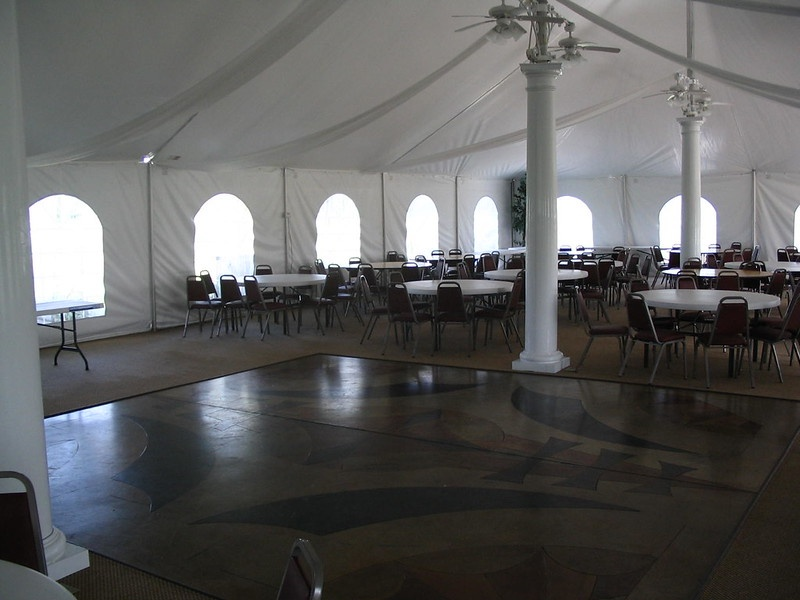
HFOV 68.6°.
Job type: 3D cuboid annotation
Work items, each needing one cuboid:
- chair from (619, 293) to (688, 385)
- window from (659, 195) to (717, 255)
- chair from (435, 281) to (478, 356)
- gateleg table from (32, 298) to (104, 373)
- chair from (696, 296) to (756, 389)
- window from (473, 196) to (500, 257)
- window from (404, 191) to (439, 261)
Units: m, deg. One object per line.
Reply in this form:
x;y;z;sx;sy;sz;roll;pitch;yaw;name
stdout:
2.833;0.376;6.512;0.596;0.982;0.566;-4;6;-9;chair
8.804;-2.363;17.514;0.060;1.625;1.350;5;9;-14;window
0.724;0.138;7.666;0.514;0.998;0.636;-9;-16;2;chair
-4.537;0.390;7.969;0.476;0.413;0.864;-29;-9;13;gateleg table
3.485;0.404;6.296;0.476;0.946;0.559;0;4;8;chair
2.615;-2.507;18.836;0.046;1.748;0.776;0;-2;-43;window
0.515;-2.159;16.983;1.067;2.222;0.016;-1;-35;-19;window
